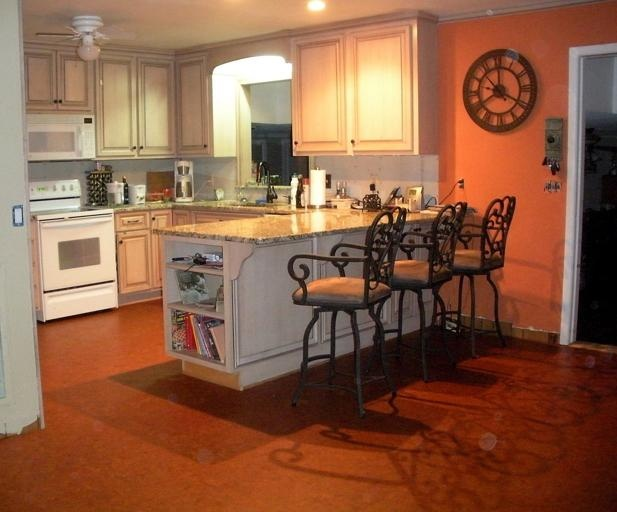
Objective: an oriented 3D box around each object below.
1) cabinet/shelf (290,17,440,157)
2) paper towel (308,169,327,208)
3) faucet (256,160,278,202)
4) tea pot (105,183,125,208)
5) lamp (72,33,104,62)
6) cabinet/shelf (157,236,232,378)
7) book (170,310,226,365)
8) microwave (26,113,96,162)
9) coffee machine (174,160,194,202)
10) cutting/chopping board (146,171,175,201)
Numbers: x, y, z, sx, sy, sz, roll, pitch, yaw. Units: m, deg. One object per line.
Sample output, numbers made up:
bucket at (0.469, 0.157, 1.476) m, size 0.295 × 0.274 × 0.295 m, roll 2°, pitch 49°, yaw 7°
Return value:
cabinet/shelf at (0.564, -1.571, 4.795) m, size 1.195 × 0.999 × 0.444 m, roll 6°, pitch 9°, yaw 38°
paper towel at (0.088, -0.687, 5.328) m, size 0.227 × 0.361 × 0.227 m, roll -4°, pitch 11°, yaw -15°
faucet at (-0.485, -0.824, 6.002) m, size 0.229 × 0.473 × 0.140 m, roll -2°, pitch 4°, yaw -19°
tea pot at (-2.268, -0.725, 6.129) m, size 0.185 × 0.258 × 0.186 m, roll -1°, pitch 8°, yaw 0°
lamp at (-1.914, -1.805, 4.511) m, size 0.162 × 0.233 × 0.386 m, roll -4°, pitch 9°, yaw -22°
cabinet/shelf at (-0.656, 0.264, 3.617) m, size 0.582 × 0.821 × 0.429 m, roll 4°, pitch 7°, yaw 27°
book at (-0.771, 0.557, 3.595) m, size 0.337 × 0.354 × 0.088 m, roll 9°, pitch 16°, yaw 29°
microwave at (-2.737, -1.292, 5.620) m, size 0.477 × 0.492 × 0.750 m, roll 27°, pitch 28°, yaw 35°
coffee machine at (-1.566, -0.933, 6.536) m, size 0.228 × 0.507 × 0.167 m, roll -4°, pitch 9°, yaw -20°
cutting/chopping board at (-1.906, -0.901, 6.723) m, size 0.390 × 0.374 × 0.089 m, roll -1°, pitch 2°, yaw -38°
